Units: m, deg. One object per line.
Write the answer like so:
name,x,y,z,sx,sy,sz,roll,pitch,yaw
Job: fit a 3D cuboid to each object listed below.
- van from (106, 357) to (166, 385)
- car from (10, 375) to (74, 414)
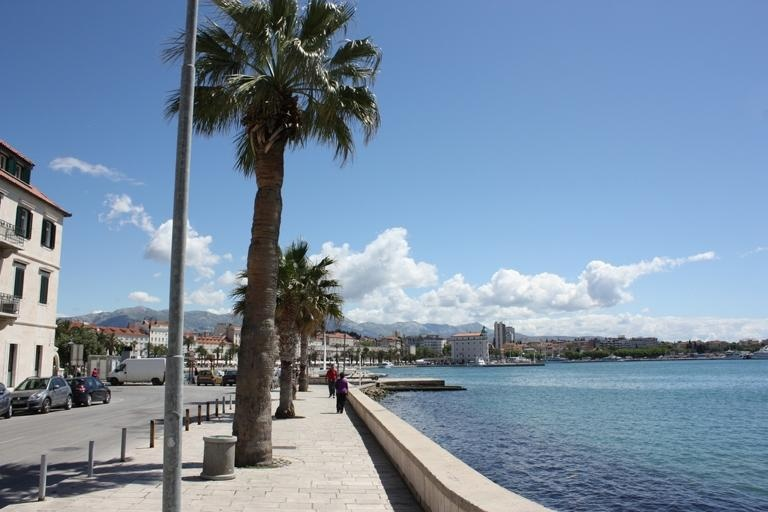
van,-24.163,11.522,53.280,6.038,2.567,1.812,-6,-12,22
car,-18.504,7.489,28.718,1.965,1.848,3.410,2,-12,-13
